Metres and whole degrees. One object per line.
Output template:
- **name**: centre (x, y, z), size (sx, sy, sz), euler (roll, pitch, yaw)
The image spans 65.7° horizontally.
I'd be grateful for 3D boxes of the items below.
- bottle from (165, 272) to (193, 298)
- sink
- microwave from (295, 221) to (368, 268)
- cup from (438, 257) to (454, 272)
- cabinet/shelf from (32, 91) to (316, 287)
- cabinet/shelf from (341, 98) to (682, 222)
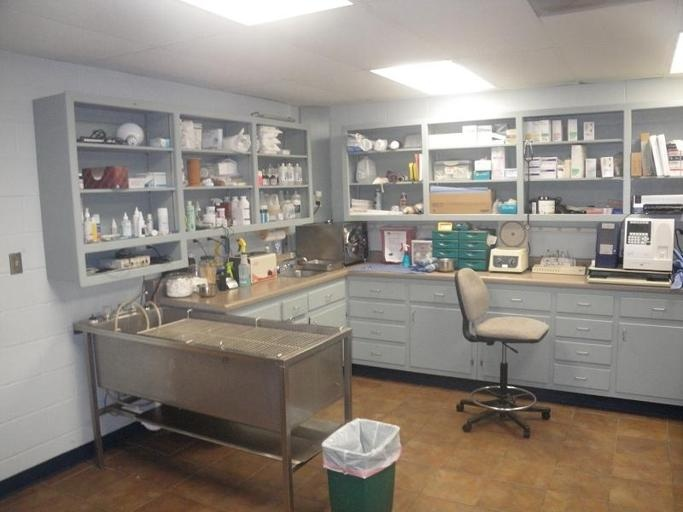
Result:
- **bottle**: centre (-1.305, 0.229, 4.282), size (0.187, 0.177, 0.188), euler (1, 3, -10)
- **sink**: centre (-1.532, 0.466, 4.091), size (0.379, 0.250, 0.400), euler (4, 10, 25)
- **microwave**: centre (-0.112, -0.144, 5.737), size (0.530, 0.415, 0.523), euler (1, 4, 23)
- **cup**: centre (1.010, 0.075, 5.157), size (0.121, 0.095, 0.123), euler (-1, 8, 0)
- **cabinet/shelf**: centre (-1.174, -0.575, 4.618), size (0.347, 1.277, 2.583), euler (6, 12, 33)
- **cabinet/shelf**: centre (1.345, -0.968, 5.231), size (3.344, 1.282, 0.406), euler (4, 15, 23)
